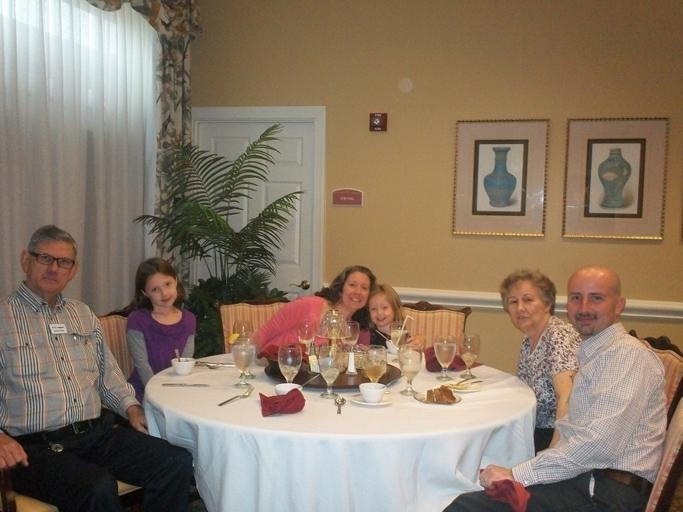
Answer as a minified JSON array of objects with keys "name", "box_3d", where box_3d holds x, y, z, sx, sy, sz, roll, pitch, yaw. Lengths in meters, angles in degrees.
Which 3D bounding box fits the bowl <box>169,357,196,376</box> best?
[{"name":"bowl","box_3d":[-0.772,0.537,2.671,0.080,0.055,0.085,2,3,0]}]

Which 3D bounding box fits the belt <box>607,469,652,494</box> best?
[{"name":"belt","box_3d":[1.119,0.867,2.101,0.094,0.027,0.094,17,-10,0]}]

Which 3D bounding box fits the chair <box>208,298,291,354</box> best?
[{"name":"chair","box_3d":[-0.622,0.450,3.672,0.359,0.504,0.355,3,-16,-12]}]
